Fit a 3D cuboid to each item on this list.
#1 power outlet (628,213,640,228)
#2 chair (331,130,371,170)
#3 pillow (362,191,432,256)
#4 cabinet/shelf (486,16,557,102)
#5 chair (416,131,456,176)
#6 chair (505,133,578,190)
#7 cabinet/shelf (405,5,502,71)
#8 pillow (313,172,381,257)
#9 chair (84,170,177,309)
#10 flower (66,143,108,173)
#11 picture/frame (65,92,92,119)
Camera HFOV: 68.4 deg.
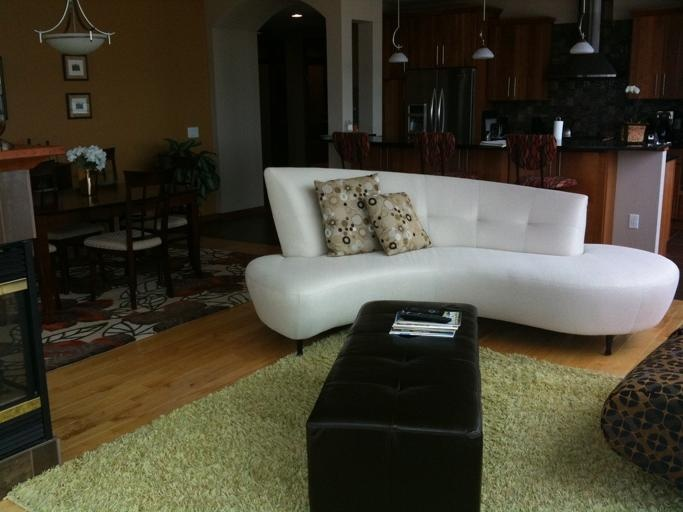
[{"bbox_3d":[3.043,-0.369,5.204,0.090,0.134,0.030,10,4,38],"label":"power outlet"},{"bbox_3d":[0.144,-1.324,6.322,0.444,0.634,0.507,8,24,24],"label":"chair"},{"bbox_3d":[0.379,-0.255,3.760,0.485,0.460,0.143,-12,-14,-45],"label":"pillow"},{"bbox_3d":[2.930,-3.220,8.062,1.084,1.461,0.536,8,18,28],"label":"cabinet/shelf"},{"bbox_3d":[1.102,-1.139,5.882,0.465,0.582,0.473,-3,13,-4],"label":"chair"},{"bbox_3d":[2.112,-0.806,5.284,0.598,0.879,0.631,10,14,38],"label":"chair"},{"bbox_3d":[1.895,-3.580,8.203,1.220,1.095,0.458,9,16,32],"label":"cabinet/shelf"},{"bbox_3d":[0.036,-0.287,3.715,0.545,0.548,0.160,-8,-2,-32],"label":"pillow"},{"bbox_3d":[-1.906,-0.174,4.486,0.709,1.164,0.682,10,12,37],"label":"chair"},{"bbox_3d":[-2.346,-0.899,4.624,0.296,0.237,0.260,-10,13,-21],"label":"flower"},{"bbox_3d":[-3.170,-1.815,6.000,0.025,0.303,0.332,5,10,34],"label":"picture/frame"}]
